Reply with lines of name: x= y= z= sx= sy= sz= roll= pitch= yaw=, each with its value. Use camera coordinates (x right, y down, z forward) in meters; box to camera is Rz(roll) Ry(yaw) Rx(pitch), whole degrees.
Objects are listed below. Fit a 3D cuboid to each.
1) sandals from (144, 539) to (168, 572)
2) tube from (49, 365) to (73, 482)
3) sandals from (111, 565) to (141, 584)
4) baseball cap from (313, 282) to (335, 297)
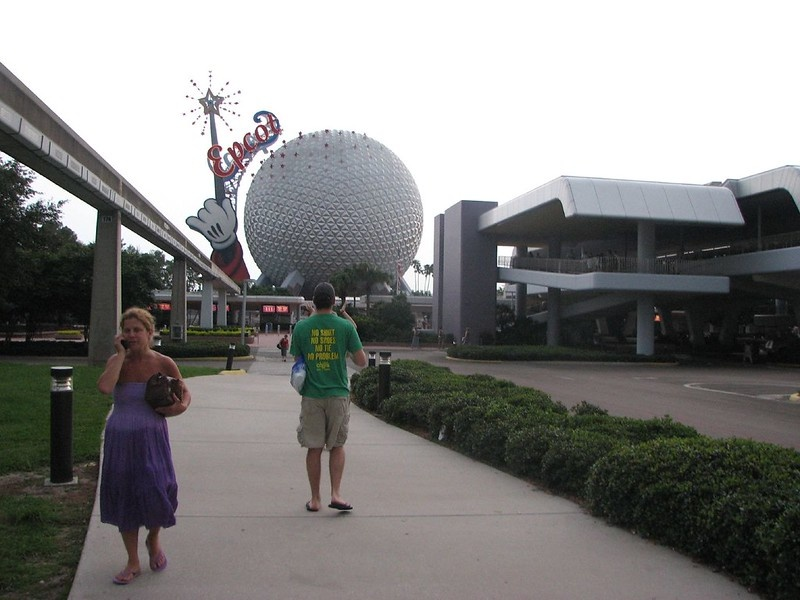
sandals: x=-1.795 y=1.944 z=4.612 sx=0.096 sy=0.071 sz=0.254 roll=0 pitch=36 yaw=-34
tube: x=-3.368 y=1.269 z=6.190 sx=0.199 sy=0.877 sz=0.187 roll=2 pitch=1 yaw=-32
sandals: x=-1.956 y=1.994 z=4.465 sx=0.186 sy=0.097 sz=0.107 roll=3 pitch=0 yaw=-33
baseball cap: x=-0.717 y=-0.091 z=5.937 sx=0.156 sy=0.149 sz=0.278 roll=5 pitch=6 yaw=1
